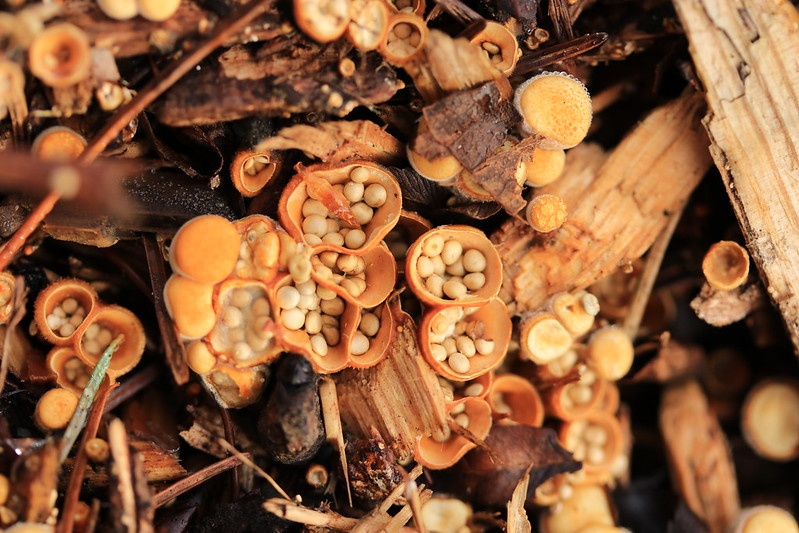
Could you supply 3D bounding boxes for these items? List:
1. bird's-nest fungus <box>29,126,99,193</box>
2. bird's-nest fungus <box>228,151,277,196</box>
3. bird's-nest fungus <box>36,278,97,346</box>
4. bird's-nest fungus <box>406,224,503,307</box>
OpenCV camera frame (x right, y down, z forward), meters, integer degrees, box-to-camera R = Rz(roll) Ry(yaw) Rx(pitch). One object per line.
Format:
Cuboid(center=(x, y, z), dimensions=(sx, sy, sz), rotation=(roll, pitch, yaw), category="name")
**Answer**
Cuboid(center=(-1.943, -0.603, 4.605), dimensions=(0.308, 0.234, 0.784), rotation=(6, 29, -26), category="bird's-nest fungus")
Cuboid(center=(-0.920, -0.595, 5.046), dimensions=(0.249, 0.287, 0.112), rotation=(-3, 30, -28), category="bird's-nest fungus")
Cuboid(center=(-2.131, 0.240, 5.102), dimensions=(0.376, 0.429, 0.245), rotation=(24, -8, -29), category="bird's-nest fungus")
Cuboid(center=(0.352, 0.005, 5.113), dimensions=(0.490, 0.568, 0.337), rotation=(-10, 12, -5), category="bird's-nest fungus")
